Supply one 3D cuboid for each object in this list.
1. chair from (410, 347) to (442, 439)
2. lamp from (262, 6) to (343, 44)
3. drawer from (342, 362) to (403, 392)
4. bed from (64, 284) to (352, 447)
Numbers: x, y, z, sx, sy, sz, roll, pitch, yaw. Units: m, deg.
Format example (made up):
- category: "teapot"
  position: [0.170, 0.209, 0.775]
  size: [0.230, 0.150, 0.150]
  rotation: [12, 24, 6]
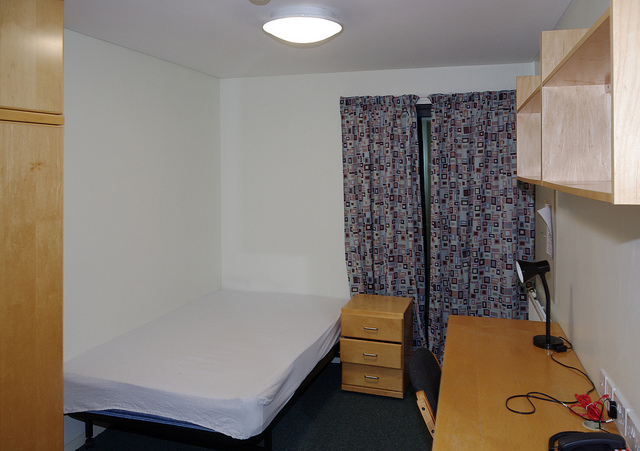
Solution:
- category: "chair"
  position: [0.572, 0.873, 2.770]
  size: [0.216, 0.449, 0.250]
  rotation: [1, 3, 10]
- category: "lamp"
  position: [-0.128, -1.310, 3.338]
  size: [0.424, 0.140, 0.368]
  rotation: [5, 3, 5]
- category: "drawer"
  position: [0.441, 1.187, 4.183]
  size: [0.496, 0.203, 0.422]
  rotation: [3, 4, 16]
- category: "bed"
  position: [-0.734, 0.977, 3.847]
  size: [1.484, 0.531, 1.813]
  rotation: [-1, 15, 23]
